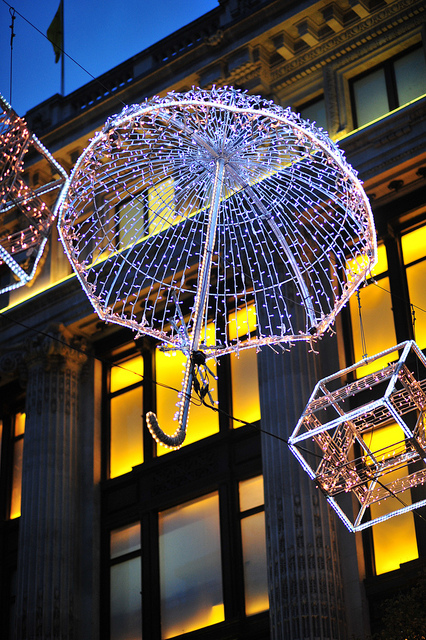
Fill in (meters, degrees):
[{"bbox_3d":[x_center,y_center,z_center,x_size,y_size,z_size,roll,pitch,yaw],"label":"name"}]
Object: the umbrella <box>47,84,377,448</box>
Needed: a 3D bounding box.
[{"bbox_3d":[0.157,-0.735,21.151,4.573,5.657,4.627,-24,-67,29],"label":"umbrella"}]
